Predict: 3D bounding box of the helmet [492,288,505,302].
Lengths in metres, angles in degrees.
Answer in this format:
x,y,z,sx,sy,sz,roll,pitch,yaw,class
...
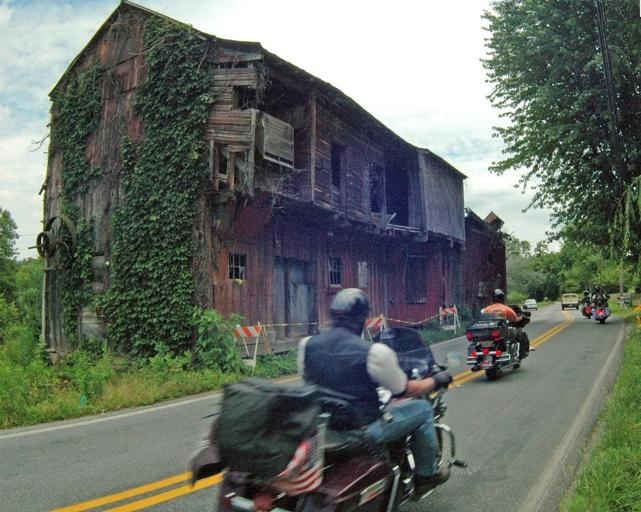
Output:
x,y,z,sx,sy,sz,roll,pitch,yaw,class
4.078,0.892,15.127,0.292,0.389,0.382,4,6,32,helmet

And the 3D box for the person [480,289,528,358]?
x,y,z,sx,sy,sz,roll,pitch,yaw,class
4.340,1.590,15.891,0.953,1.266,1.911,-20,-7,27,person

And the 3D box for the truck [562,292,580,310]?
x,y,z,sx,sy,sz,roll,pitch,yaw,class
20.855,3.678,54.553,1.126,1.054,2.162,-1,2,26,truck

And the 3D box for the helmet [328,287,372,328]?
x,y,z,sx,sy,sz,roll,pitch,yaw,class
0.373,0.584,8.080,0.369,0.526,0.503,2,14,18,helmet

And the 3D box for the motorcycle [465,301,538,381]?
x,y,z,sx,sy,sz,roll,pitch,yaw,class
4.116,1.927,15.224,0.821,1.761,1.966,1,4,39,motorcycle

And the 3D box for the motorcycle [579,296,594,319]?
x,y,z,sx,sy,sz,roll,pitch,yaw,class
13.467,2.544,32.793,0.585,0.863,1.391,1,1,16,motorcycle
